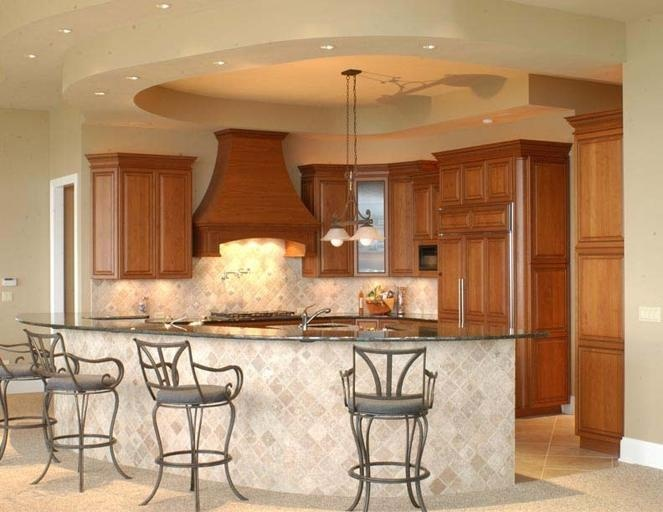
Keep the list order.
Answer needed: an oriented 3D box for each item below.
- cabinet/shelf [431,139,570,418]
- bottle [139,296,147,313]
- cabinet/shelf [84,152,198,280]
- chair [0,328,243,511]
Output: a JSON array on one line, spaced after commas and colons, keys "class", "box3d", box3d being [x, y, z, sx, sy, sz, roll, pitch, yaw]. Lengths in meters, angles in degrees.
[{"class": "cabinet/shelf", "box3d": [2.069, 0.288, 7.468, 1.500, 3.245, 0.637, 0, 0, 18]}, {"class": "bottle", "box3d": [-2.499, 0.653, 8.271, 0.071, 0.201, 0.131, 0, 0, 39]}, {"class": "cabinet/shelf", "box3d": [-2.527, -0.517, 7.985, 1.879, 1.978, 0.820, 1, -3, -28]}, {"class": "chair", "box3d": [-1.727, 1.417, 5.291, 1.421, 0.869, 0.553, -1, 0, 37]}]
